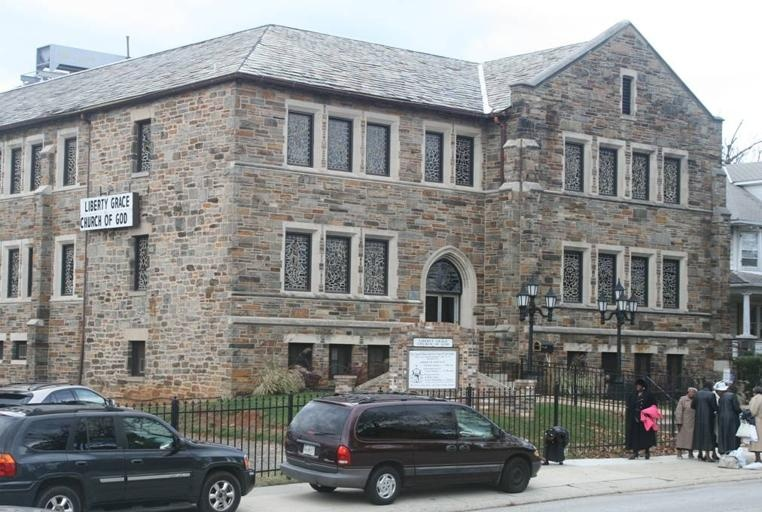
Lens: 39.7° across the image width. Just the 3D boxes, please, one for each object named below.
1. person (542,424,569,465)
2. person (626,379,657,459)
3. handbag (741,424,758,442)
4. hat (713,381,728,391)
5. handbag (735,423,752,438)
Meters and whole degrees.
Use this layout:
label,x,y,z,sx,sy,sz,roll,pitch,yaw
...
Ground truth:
label,x,y,z,sx,sy,sz,roll,pitch,yaw
person,5.089,5.514,30.642,1.056,1.107,1.075,-4,-14,17
person,7.713,4.883,31.495,0.842,2.319,0.936,-2,-12,9
handbag,10.790,5.195,31.010,0.655,0.497,0.247,4,7,20
hat,10.270,4.029,32.411,0.440,0.165,0.511,2,-1,-28
handbag,10.640,5.152,31.081,0.646,0.460,0.263,1,3,9
